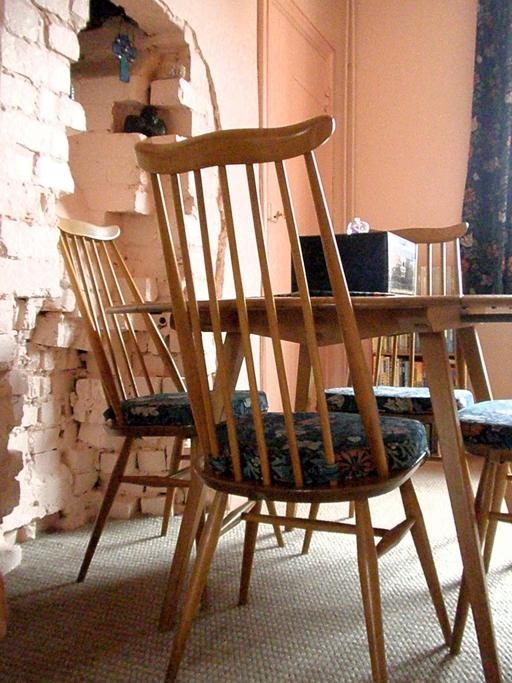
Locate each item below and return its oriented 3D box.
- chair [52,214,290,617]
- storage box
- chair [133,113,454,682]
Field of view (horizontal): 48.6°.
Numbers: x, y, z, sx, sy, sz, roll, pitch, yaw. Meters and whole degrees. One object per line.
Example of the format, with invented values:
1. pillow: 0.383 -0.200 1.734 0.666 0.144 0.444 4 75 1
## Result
1. chair: -0.275 0.144 1.702 0.510 0.989 0.476 -3 13 22
2. storage box: 0.313 -0.185 1.722 0.290 0.167 0.282 0 3 12
3. chair: 0.069 0.161 1.207 0.616 1.159 0.632 -2 16 18
